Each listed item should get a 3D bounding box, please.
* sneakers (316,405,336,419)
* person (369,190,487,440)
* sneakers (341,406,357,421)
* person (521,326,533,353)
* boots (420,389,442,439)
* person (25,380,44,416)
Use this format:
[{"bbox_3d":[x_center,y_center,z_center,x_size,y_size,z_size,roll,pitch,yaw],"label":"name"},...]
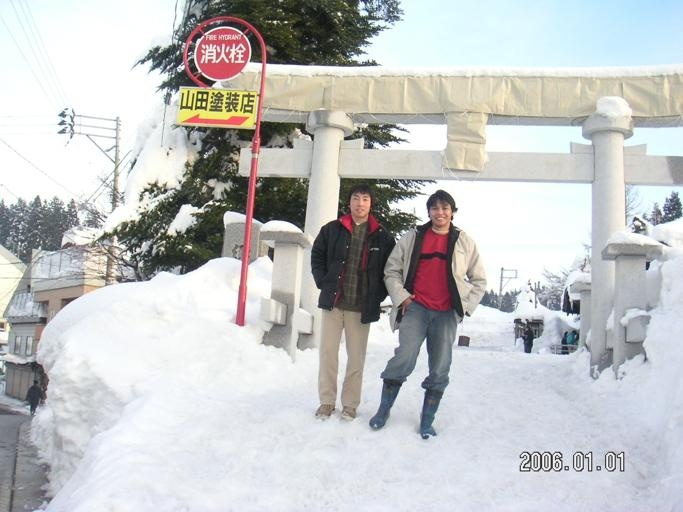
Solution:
[{"bbox_3d":[-0.140,1.608,6.153,0.271,0.123,0.128,0,3,-40],"label":"sneakers"},{"bbox_3d":[0.875,0.557,5.940,1.074,2.418,0.459,2,2,4],"label":"person"},{"bbox_3d":[0.073,1.620,6.061,0.095,0.057,0.137,2,23,5],"label":"sneakers"},{"bbox_3d":[7.845,3.609,24.910,0.355,1.074,1.679,2,3,17],"label":"person"},{"bbox_3d":[0.883,1.543,5.903,0.204,0.467,0.350,2,2,5],"label":"boots"},{"bbox_3d":[-11.430,5.267,22.002,0.619,1.324,0.389,7,11,-22],"label":"person"}]
